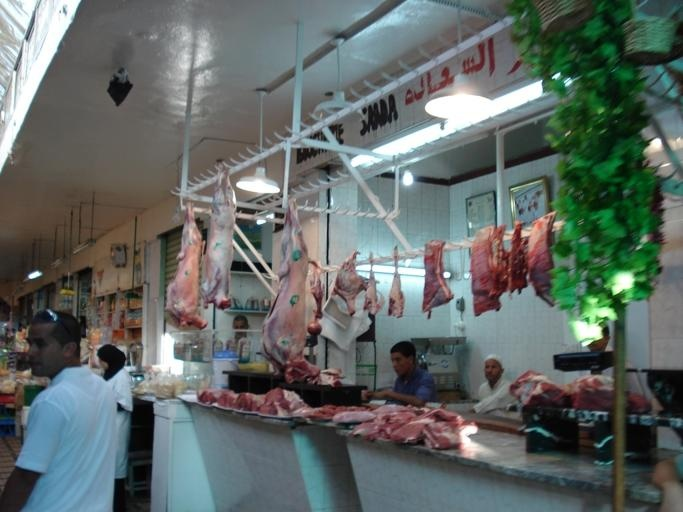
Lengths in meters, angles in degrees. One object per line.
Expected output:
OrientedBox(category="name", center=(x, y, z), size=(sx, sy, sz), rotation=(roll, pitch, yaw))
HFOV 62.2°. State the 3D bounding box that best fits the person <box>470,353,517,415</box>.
OrientedBox(category="person", center=(1.563, 1.508, 5.993), size=(0.486, 0.810, 0.410), rotation=(7, -14, -11))
